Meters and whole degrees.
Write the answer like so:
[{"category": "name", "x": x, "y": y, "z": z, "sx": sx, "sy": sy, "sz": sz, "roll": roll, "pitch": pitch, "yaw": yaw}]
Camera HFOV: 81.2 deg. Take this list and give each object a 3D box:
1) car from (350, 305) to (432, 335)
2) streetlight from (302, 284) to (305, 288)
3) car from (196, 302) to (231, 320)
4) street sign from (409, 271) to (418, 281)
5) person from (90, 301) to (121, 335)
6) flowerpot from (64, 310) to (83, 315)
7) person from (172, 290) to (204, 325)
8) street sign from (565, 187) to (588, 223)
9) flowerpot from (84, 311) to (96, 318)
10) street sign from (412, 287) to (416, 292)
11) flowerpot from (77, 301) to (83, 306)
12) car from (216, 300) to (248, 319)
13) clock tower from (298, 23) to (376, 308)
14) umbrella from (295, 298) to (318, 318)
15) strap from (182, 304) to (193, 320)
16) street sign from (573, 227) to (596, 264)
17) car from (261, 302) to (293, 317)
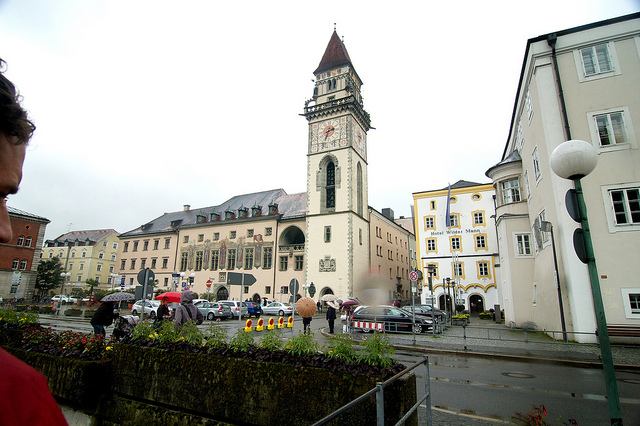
[{"category": "car", "x": 4.230, "y": 6.686, "z": 22.706, "sx": 4.307, "sy": 1.686, "sz": 3.068, "roll": -4, "pitch": -4, "yaw": 34}, {"category": "streetlight", "x": -2.003, "y": 8.916, "z": 44.689, "sx": 0.251, "sy": 0.250, "sz": 0.491, "roll": -9, "pitch": 8, "yaw": 31}, {"category": "car", "x": -8.826, "y": 8.495, "z": 32.166, "sx": 4.150, "sy": 1.361, "sz": 1.892, "roll": 0, "pitch": -17, "yaw": 9}, {"category": "street sign", "x": 5.475, "y": 3.801, "z": 21.894, "sx": 0.331, "sy": 0.647, "sz": 1.552, "roll": -2, "pitch": -3, "yaw": 11}, {"category": "person", "x": -7.632, "y": 3.736, "z": 13.141, "sx": 0.797, "sy": 1.120, "sz": 2.444, "roll": -1, "pitch": -3, "yaw": -25}, {"category": "flowerpot", "x": -20.578, "y": 8.423, "z": 31.405, "sx": 0.814, "sy": 0.278, "sz": 0.725, "roll": 2, "pitch": -10, "yaw": -7}, {"category": "person", "x": -4.362, "y": 3.183, "z": 12.178, "sx": 0.467, "sy": 1.213, "sz": 1.437, "roll": -2, "pitch": -3, "yaw": 6}, {"category": "street sign", "x": 5.425, "y": -0.150, "z": 7.919, "sx": 0.337, "sy": 0.749, "sz": 0.575, "roll": -4, "pitch": -3, "yaw": 34}, {"category": "flowerpot", "x": -18.810, "y": 8.305, "z": 30.406, "sx": 0.637, "sy": 0.398, "sz": 2.218, "roll": 0, "pitch": -4, "yaw": -35}, {"category": "street sign", "x": 5.596, "y": 4.612, "z": 22.230, "sx": 0.271, "sy": 0.261, "sz": 0.256, "roll": 0, "pitch": -12, "yaw": 5}, {"category": "flowerpot", "x": -32.821, "y": 12.449, "z": 50.864, "sx": 0.930, "sy": 0.652, "sz": 0.478, "roll": -4, "pitch": -18, "yaw": 13}, {"category": "car", "x": -7.442, "y": 8.665, "z": 33.386, "sx": 3.327, "sy": 1.262, "sz": 1.610, "roll": -1, "pitch": -13, "yaw": 13}, {"category": "clock tower", "x": 2.603, "y": -6.627, "z": 49.714, "sx": 10.006, "sy": 34.134, "sz": 10.931, "roll": 1, "pitch": -4, "yaw": -20}, {"category": "umbrella", "x": -0.725, "y": 5.009, "z": 19.379, "sx": 0.990, "sy": 1.056, "sz": 0.556, "roll": -1, "pitch": -3, "yaw": -10}, {"category": "strap", "x": -4.314, "y": 3.245, "z": 12.144, "sx": 0.299, "sy": 0.454, "sz": 0.194, "roll": -1, "pitch": -3, "yaw": -19}, {"category": "street sign", "x": 5.448, "y": 0.685, "z": 7.730, "sx": 0.308, "sy": 0.706, "sz": 0.419, "roll": -4, "pitch": -3, "yaw": 33}, {"category": "car", "x": -4.498, "y": 10.284, "z": 39.232, "sx": 2.911, "sy": 1.340, "sz": 4.172, "roll": -1, "pitch": -3, "yaw": -17}]
